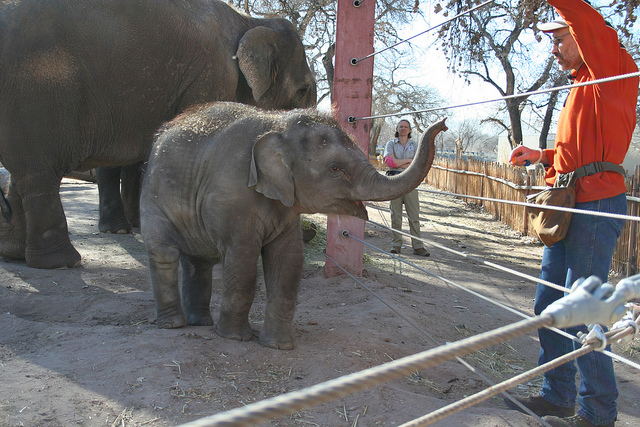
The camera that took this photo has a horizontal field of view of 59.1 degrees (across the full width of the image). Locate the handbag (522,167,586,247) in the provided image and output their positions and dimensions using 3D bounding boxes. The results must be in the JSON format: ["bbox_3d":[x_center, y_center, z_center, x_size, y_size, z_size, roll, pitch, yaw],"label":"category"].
[{"bbox_3d":[1.662,-0.049,3.922,0.508,0.591,0.214,-3,-2,14],"label":"handbag"}]
